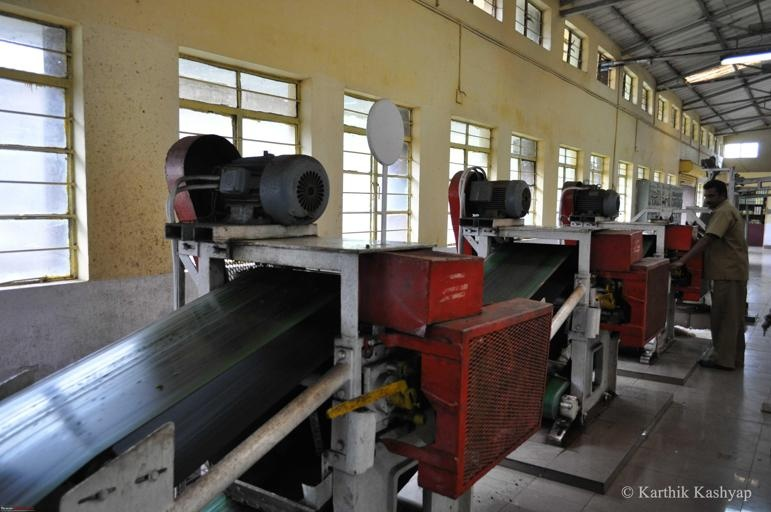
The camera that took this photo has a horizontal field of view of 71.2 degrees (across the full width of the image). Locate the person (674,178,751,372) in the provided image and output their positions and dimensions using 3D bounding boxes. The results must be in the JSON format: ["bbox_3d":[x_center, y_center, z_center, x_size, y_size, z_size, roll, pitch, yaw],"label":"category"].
[{"bbox_3d":[3.997,0.217,6.410,0.755,2.167,0.947,7,14,29],"label":"person"}]
